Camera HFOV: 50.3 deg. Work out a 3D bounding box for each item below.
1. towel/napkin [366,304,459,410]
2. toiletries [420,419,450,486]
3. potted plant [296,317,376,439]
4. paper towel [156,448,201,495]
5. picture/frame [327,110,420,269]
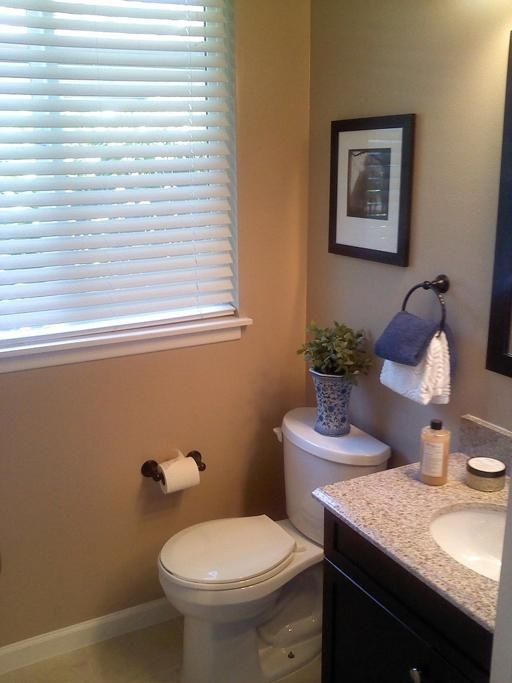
[{"bbox_3d":[0.386,0.034,1.368,0.136,0.235,0.186,-10,24,-30],"label":"towel/napkin"},{"bbox_3d":[0.404,0.249,1.240,0.063,0.151,0.061,12,21,42],"label":"toiletries"},{"bbox_3d":[0.245,0.103,1.781,0.181,0.406,0.172,18,26,20],"label":"potted plant"},{"bbox_3d":[-0.244,0.431,1.834,0.142,0.148,0.108,-9,-17,-24],"label":"paper towel"},{"bbox_3d":[0.329,-0.448,1.615,0.043,0.409,0.399,-5,16,-22],"label":"picture/frame"}]
